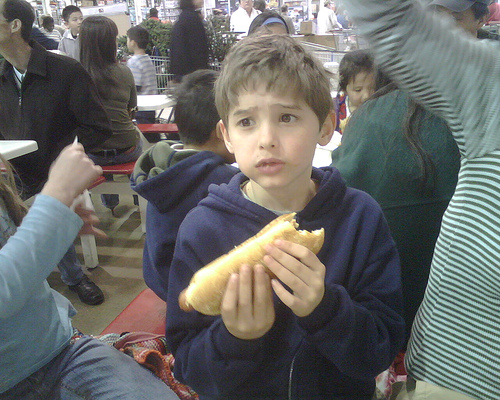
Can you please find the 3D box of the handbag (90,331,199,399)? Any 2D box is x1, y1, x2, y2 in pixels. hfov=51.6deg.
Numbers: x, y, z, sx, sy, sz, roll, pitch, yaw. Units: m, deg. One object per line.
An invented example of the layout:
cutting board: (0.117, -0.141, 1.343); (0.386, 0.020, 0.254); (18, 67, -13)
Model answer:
handbag: (-0.444, 0.669, 2.249); (0.396, 0.160, 0.413); (14, -6, -17)

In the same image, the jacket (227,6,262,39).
jacket: (-0.085, -3.402, 9.756); (0.541, 0.446, 0.559); (-1, 19, -3)

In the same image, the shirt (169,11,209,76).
shirt: (-0.820, -2.053, 6.820); (0.458, 0.932, 0.763); (-2, 11, -31)

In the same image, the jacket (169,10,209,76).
jacket: (-0.777, -2.011, 6.650); (0.490, 0.789, 0.320); (-3, 19, -8)

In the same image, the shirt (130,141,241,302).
shirt: (-0.303, 0.060, 2.401); (0.417, 0.693, 0.662); (-16, 33, -23)

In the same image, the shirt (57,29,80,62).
shirt: (-2.556, -2.133, 7.288); (0.311, 0.345, 0.142); (15, 57, -20)

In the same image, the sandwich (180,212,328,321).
sandwich: (0.009, 0.194, 1.432); (0.357, 0.123, 0.105); (-34, 54, -8)

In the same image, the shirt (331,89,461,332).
shirt: (0.510, -0.007, 1.951); (0.503, 0.769, 0.271); (-12, 36, -19)

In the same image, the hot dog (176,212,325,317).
hot dog: (0.003, 0.187, 1.433); (0.322, 0.124, 0.076); (-44, 33, 6)
